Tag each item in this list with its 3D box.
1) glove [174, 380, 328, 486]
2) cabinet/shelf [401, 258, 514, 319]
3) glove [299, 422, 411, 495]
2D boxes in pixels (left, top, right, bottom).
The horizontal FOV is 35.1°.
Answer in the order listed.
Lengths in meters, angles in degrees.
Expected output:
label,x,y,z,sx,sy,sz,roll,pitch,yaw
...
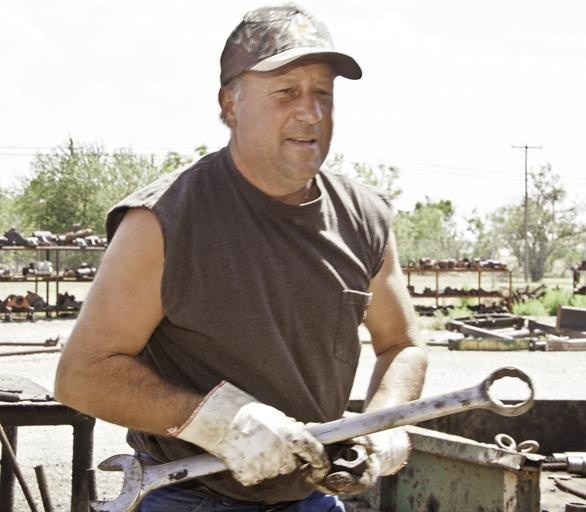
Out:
label,x,y,z,sx,sy,sz,roll,pitch,yaw
glove,-0.130,0.693,3.650,0.574,0.380,0.149,22,15,5
cabinet/shelf,4.041,0.885,23.131,2.555,1.314,0.846,-9,-2,42
glove,0.264,0.797,3.802,0.245,0.193,0.415,-4,1,32
